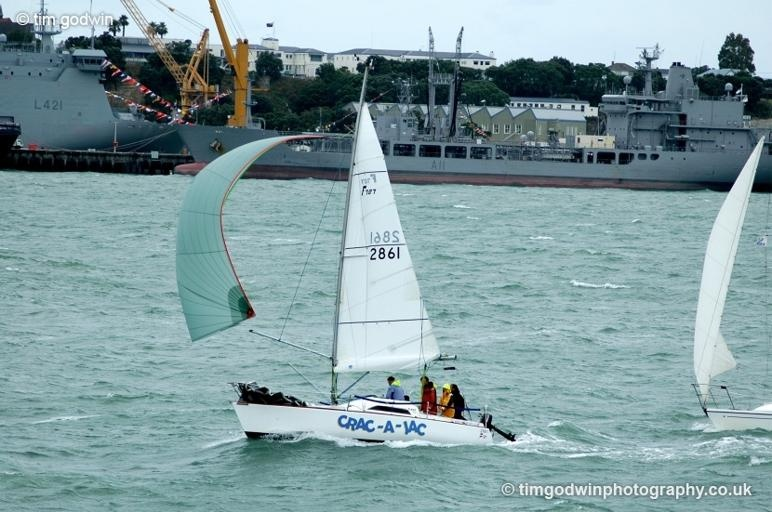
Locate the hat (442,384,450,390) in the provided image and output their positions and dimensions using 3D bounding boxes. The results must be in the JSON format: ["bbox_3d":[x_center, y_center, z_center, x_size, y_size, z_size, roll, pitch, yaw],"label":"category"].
[{"bbox_3d":[2.877,6.288,77.950,0.401,0.199,0.460,1,9,5],"label":"hat"}]

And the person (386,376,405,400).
[{"bbox_3d":[0.402,6.284,77.205,0.911,1.114,0.768,-3,10,-1],"label":"person"}]
